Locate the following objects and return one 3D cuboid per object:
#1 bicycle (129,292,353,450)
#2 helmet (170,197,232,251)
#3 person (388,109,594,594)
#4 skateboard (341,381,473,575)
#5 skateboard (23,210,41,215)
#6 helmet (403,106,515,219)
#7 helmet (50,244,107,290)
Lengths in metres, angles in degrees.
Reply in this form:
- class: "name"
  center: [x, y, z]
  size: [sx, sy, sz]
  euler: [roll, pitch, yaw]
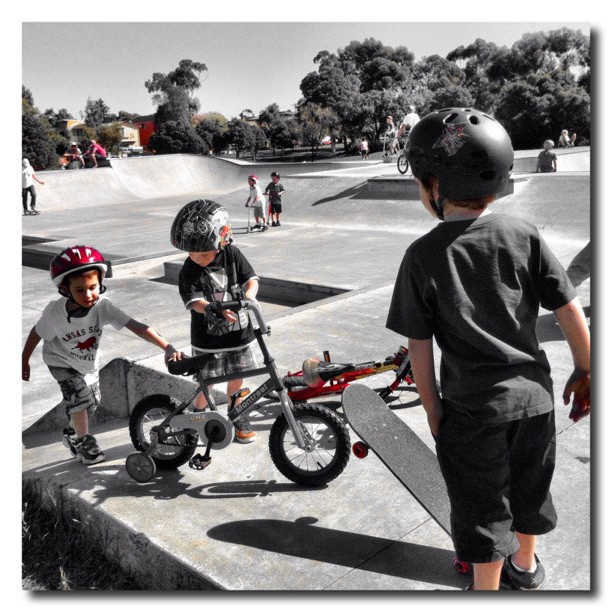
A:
- class: "bicycle"
  center: [-0.352, 0.455, 3.272]
  size: [1.410, 0.862, 0.814]
  euler: [-3, 3, 21]
- class: "helmet"
  center: [-0.559, -0.462, 3.104]
  size: [0.310, 0.274, 0.418]
  euler: [8, 15, 11]
- class: "person"
  center: [0.567, 0.088, 1.748]
  size: [0.589, 1.362, 0.300]
  euler: [-2, 8, 16]
- class: "skateboard"
  center: [0.347, 0.612, 2.480]
  size: [0.260, 0.150, 1.069]
  euler: [-12, 45, -38]
- class: "skateboard"
  center: [-9.815, -3.355, 20.379]
  size: [0.642, 0.252, 0.208]
  euler: [-1, 8, -4]
- class: "helmet"
  center: [0.490, -0.430, 1.804]
  size: [0.304, 0.351, 0.367]
  euler: [-12, 13, -21]
- class: "helmet"
  center: [-1.185, -0.212, 2.976]
  size: [0.205, 0.260, 0.221]
  euler: [2, 4, 0]
